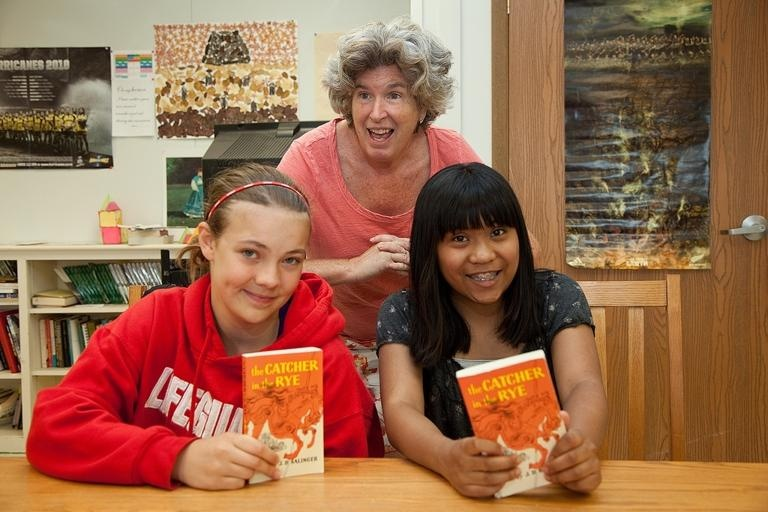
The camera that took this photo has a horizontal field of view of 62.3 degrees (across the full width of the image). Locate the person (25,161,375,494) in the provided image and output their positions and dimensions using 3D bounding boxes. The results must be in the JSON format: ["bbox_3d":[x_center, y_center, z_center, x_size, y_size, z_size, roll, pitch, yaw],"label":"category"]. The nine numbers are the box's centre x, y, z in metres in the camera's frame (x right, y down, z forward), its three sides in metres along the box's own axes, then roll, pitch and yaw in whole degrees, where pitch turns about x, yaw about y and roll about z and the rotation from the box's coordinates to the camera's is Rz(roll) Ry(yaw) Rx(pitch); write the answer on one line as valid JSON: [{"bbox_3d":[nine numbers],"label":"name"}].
[{"bbox_3d":[-0.489,0.282,2.123,1.310,0.930,0.895,3,-1,-18],"label":"person"}]
